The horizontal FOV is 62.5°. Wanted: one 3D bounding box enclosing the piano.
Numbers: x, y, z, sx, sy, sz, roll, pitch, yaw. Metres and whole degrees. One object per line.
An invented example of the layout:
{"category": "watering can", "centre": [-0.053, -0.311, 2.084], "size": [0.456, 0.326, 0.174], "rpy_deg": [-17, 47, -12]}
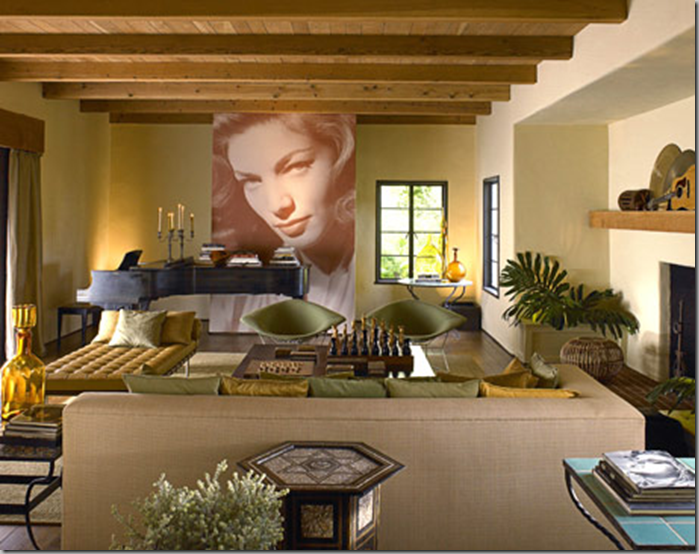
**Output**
{"category": "piano", "centre": [-2.981, 0.159, 7.226], "size": [0.889, 1.135, 0.827], "rpy_deg": [-9, 17, -9]}

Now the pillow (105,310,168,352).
{"category": "pillow", "centre": [-2.061, 0.496, 5.683], "size": [0.396, 0.391, 0.125], "rpy_deg": [1, -26, 11]}

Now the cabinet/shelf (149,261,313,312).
{"category": "cabinet/shelf", "centre": [-1.455, 0.089, 7.011], "size": [1.799, 0.385, 0.334], "rpy_deg": [-2, 5, -15]}

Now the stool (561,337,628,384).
{"category": "stool", "centre": [2.570, 0.885, 6.021], "size": [0.560, 0.455, 0.592], "rpy_deg": [-4, -6, -22]}

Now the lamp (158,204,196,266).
{"category": "lamp", "centre": [-2.772, -0.625, 9.205], "size": [0.592, 0.911, 0.633], "rpy_deg": [-2, -4, 15]}

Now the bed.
{"category": "bed", "centre": [-2.077, 0.747, 5.316], "size": [0.800, 0.532, 1.302], "rpy_deg": [0, 1, 5]}

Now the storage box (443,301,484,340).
{"category": "storage box", "centre": [1.818, 0.660, 9.097], "size": [0.542, 0.360, 0.561], "rpy_deg": [1, 3, 3]}

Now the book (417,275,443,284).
{"category": "book", "centre": [1.164, 0.042, 8.316], "size": [0.375, 0.094, 0.441], "rpy_deg": [0, 6, 9]}
